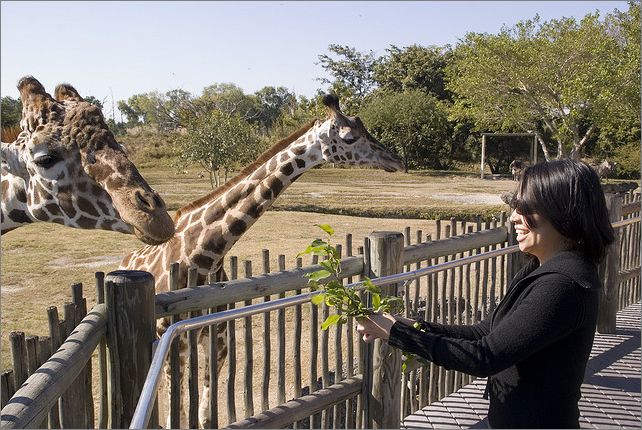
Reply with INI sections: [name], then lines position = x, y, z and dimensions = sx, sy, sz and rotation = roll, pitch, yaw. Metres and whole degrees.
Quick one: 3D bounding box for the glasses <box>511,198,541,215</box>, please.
[glasses]
position = 1.225, -0.048, 4.171
dimensions = 0.106, 0.044, 0.087
rotation = 14, 13, 1
